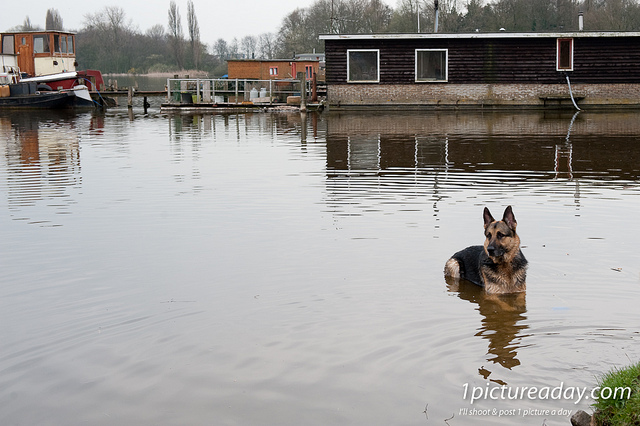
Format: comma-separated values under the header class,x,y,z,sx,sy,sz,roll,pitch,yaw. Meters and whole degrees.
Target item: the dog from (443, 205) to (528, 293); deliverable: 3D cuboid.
class,x,y,z,sx,sy,sz,roll,pitch,yaw
dog,2.063,0.400,8.690,0.846,1.044,1.472,-5,6,-11
